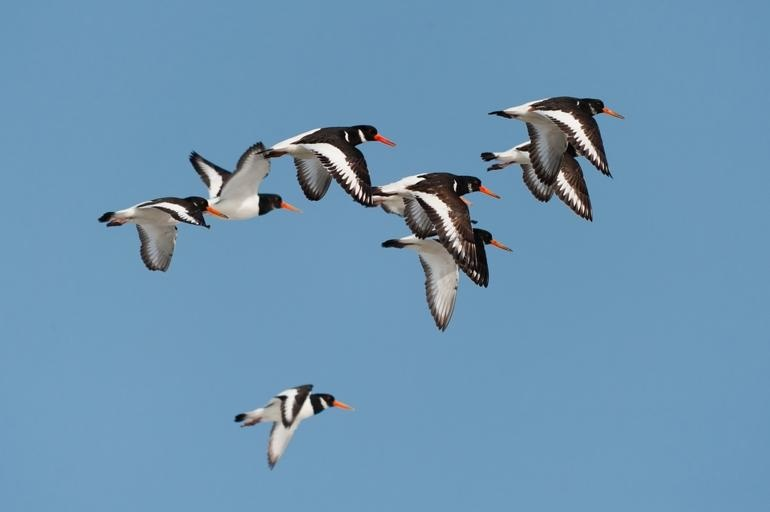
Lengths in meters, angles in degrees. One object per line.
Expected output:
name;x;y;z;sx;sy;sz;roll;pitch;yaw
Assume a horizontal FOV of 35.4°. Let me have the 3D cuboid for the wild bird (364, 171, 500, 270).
wild bird;0.825;-0.728;18.810;1.679;2.209;0.748;18;-78;-21
